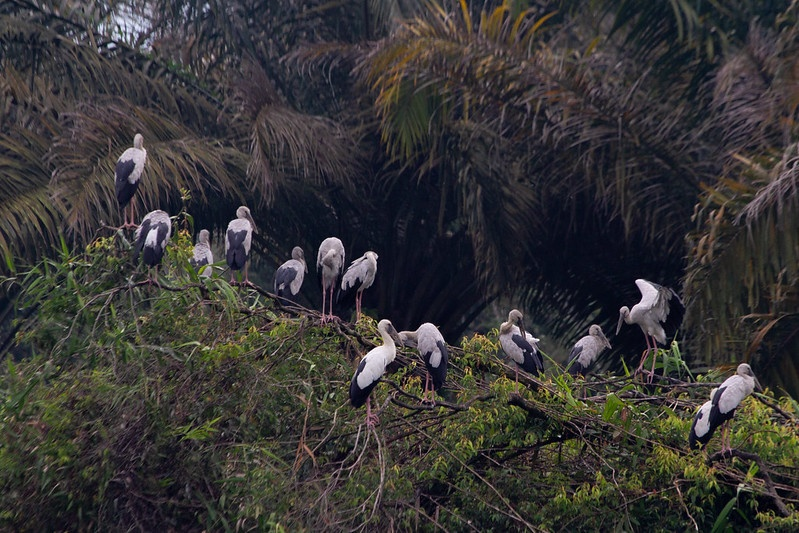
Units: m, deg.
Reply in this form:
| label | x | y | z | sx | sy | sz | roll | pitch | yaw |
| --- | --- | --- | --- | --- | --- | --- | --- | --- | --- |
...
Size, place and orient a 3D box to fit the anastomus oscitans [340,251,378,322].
| label | x | y | z | sx | sy | sz | roll | pitch | yaw |
| --- | --- | --- | --- | --- | --- | --- | --- | --- | --- |
| anastomus oscitans | -0.608 | 0.320 | 13.299 | 0.618 | 1.462 | 0.472 | 4 | 34 | -5 |

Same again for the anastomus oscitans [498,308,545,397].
| label | x | y | z | sx | sy | sz | roll | pitch | yaw |
| --- | --- | --- | --- | --- | --- | --- | --- | --- | --- |
| anastomus oscitans | 1.600 | 1.147 | 11.350 | 0.592 | 1.195 | 0.385 | 6 | 9 | 35 |

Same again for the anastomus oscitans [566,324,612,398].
| label | x | y | z | sx | sy | sz | roll | pitch | yaw |
| --- | --- | --- | --- | --- | --- | --- | --- | --- | --- |
| anastomus oscitans | 2.557 | 1.208 | 11.698 | 0.452 | 0.645 | 1.105 | 22 | 14 | 13 |
